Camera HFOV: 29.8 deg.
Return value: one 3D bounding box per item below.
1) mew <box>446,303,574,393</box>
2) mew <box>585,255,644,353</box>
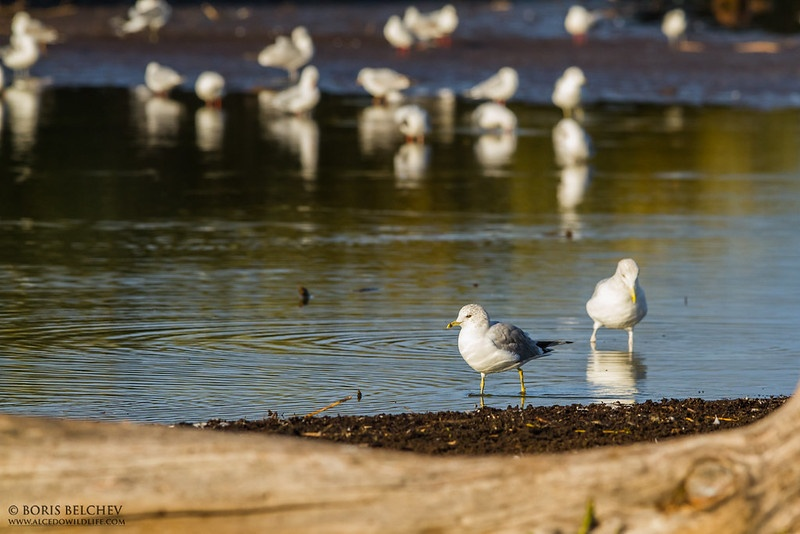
[{"bbox_3d":[1.277,1.005,18.502,1.031,1.152,0.706,-7,8,-44],"label":"mew"},{"bbox_3d":[2.984,0.496,20.312,0.821,1.232,0.852,1,6,25],"label":"mew"}]
